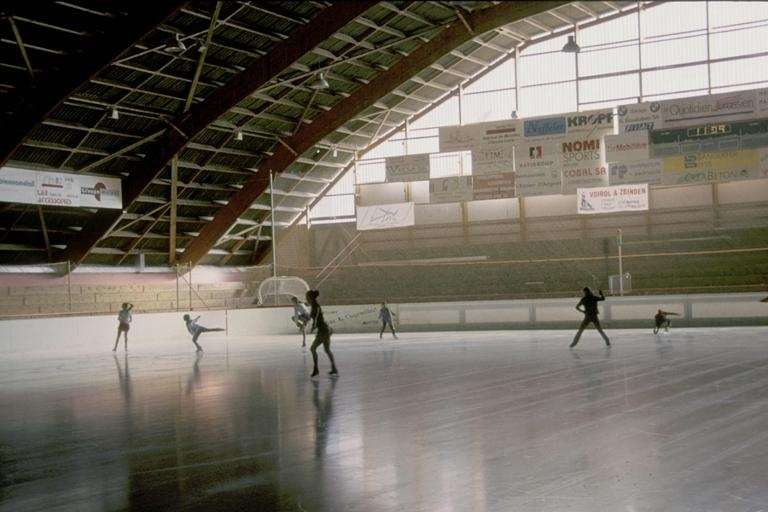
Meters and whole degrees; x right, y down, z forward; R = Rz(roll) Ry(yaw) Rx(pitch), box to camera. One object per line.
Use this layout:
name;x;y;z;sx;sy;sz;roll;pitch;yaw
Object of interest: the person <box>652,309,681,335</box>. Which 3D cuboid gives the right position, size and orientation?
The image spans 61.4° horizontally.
person;12.479;2.800;28.553;1.435;0.981;1.394;0;-12;15
